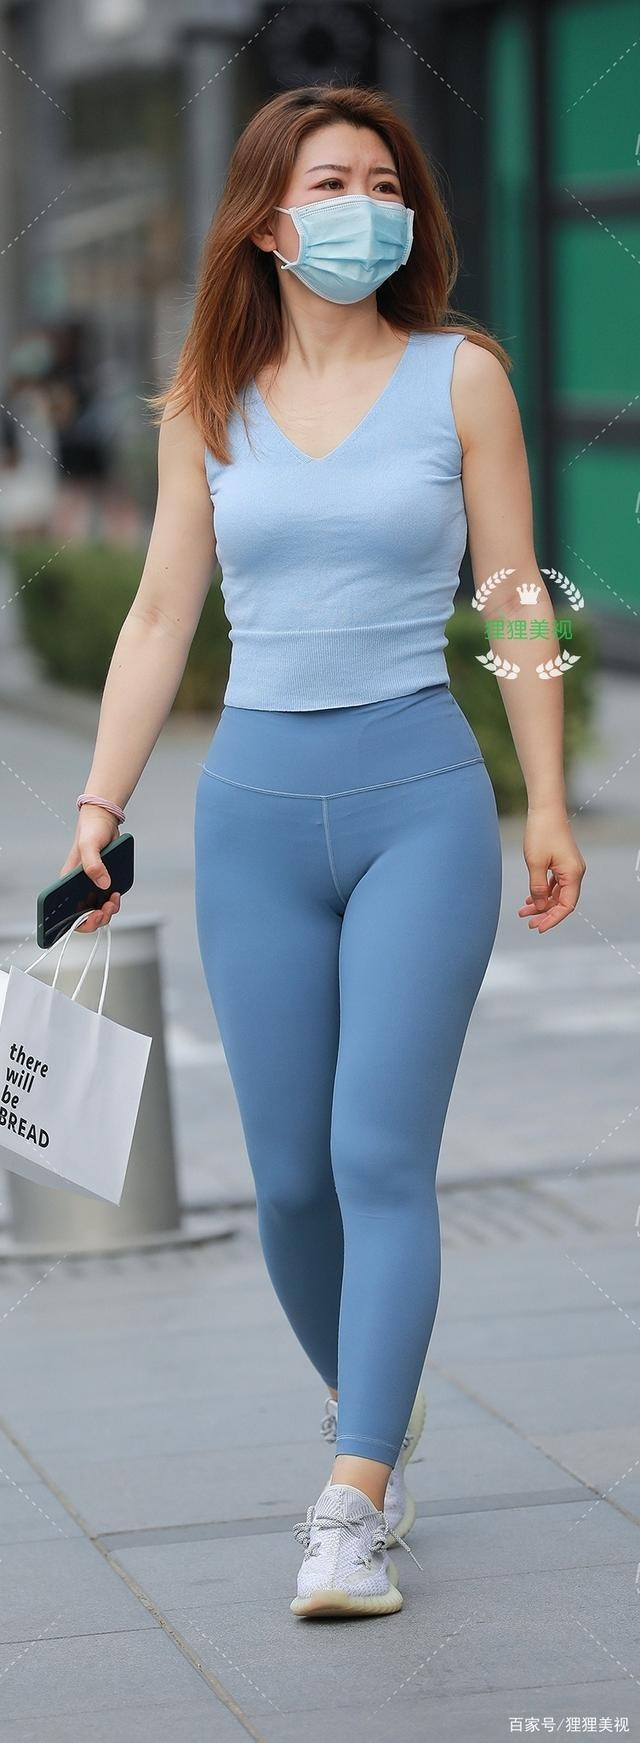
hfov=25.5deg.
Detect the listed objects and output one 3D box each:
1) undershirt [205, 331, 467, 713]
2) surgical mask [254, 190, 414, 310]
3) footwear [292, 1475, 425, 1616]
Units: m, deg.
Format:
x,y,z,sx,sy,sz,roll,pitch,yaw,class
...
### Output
x,y,z,sx,sy,sz,roll,pitch,yaw,class
0.008,-0.481,1.940,0.328,0.597,0.259,-4,-7,12,undershirt
0.029,-0.847,1.923,0.170,0.141,0.210,-5,29,-17,surgical mask
0.032,0.883,1.852,0.145,0.186,0.151,-2,-4,1,footwear
